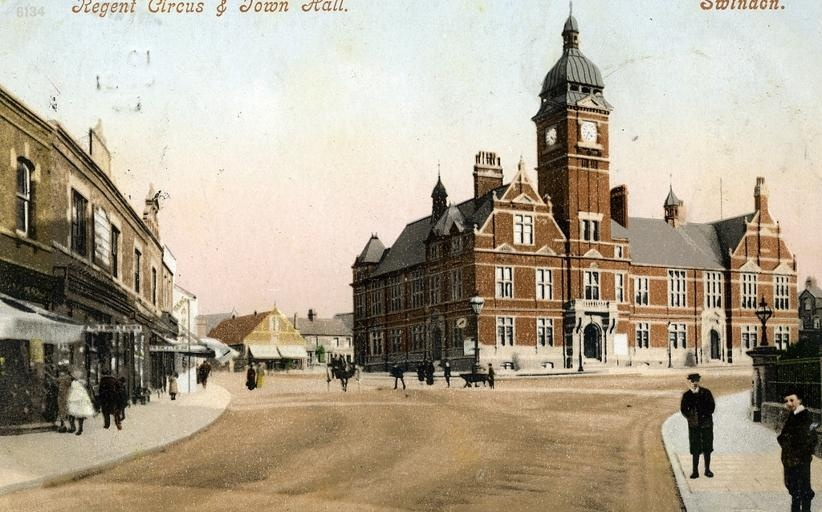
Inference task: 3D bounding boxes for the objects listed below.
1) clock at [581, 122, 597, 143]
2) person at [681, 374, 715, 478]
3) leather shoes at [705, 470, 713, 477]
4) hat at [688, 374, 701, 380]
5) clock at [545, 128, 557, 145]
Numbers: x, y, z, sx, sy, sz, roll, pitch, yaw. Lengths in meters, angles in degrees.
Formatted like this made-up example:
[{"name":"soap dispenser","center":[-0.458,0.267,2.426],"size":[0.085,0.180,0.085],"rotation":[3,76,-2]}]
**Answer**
[{"name":"clock","center":[13.369,-9.320,82.818],"size":[1.140,1.139,0.147],"rotation":[-37,22,-18]},{"name":"person","center":[9.337,5.476,35.574],"size":[0.992,3.434,1.365],"rotation":[-5,-12,15]},{"name":"leather shoes","center":[9.471,6.940,34.826],"size":[0.283,0.295,0.147],"rotation":[-3,1,-1]},{"name":"hat","center":[9.256,3.999,36.005],"size":[0.324,0.100,0.357],"rotation":[-4,-9,-13]},{"name":"clock","center":[10.709,-9.135,83.790],"size":[0.169,1.275,1.234],"rotation":[1,-6,-25]}]
